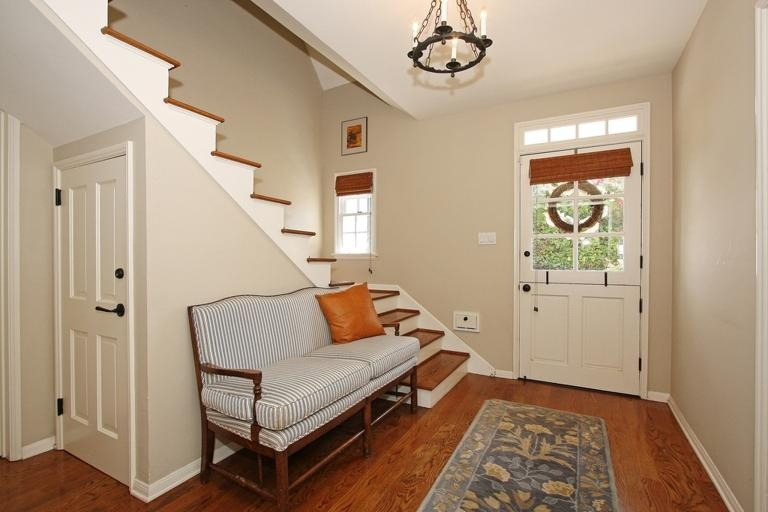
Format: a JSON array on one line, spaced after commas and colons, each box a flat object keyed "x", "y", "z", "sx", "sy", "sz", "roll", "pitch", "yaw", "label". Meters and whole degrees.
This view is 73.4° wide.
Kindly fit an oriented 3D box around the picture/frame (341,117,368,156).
[{"x": -0.371, "y": -1.519, "z": 6.478, "sx": 0.522, "sy": 0.542, "sz": 0.022, "roll": -2, "pitch": -4, "yaw": 35, "label": "picture/frame"}]
